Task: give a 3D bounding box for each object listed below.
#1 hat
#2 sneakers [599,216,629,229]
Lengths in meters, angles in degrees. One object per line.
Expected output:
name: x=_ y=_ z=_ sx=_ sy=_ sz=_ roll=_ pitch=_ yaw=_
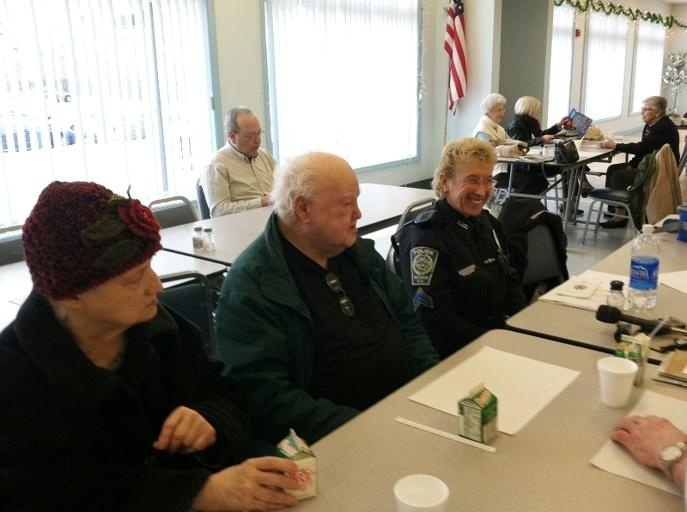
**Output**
hat: x=-0.577 y=-0.042 z=1.281 sx=0.277 sy=0.209 sz=0.276 roll=-21 pitch=24 yaw=-7
sneakers: x=3.217 y=-0.397 z=6.148 sx=0.359 sy=0.146 sz=0.134 roll=1 pitch=12 yaw=4
